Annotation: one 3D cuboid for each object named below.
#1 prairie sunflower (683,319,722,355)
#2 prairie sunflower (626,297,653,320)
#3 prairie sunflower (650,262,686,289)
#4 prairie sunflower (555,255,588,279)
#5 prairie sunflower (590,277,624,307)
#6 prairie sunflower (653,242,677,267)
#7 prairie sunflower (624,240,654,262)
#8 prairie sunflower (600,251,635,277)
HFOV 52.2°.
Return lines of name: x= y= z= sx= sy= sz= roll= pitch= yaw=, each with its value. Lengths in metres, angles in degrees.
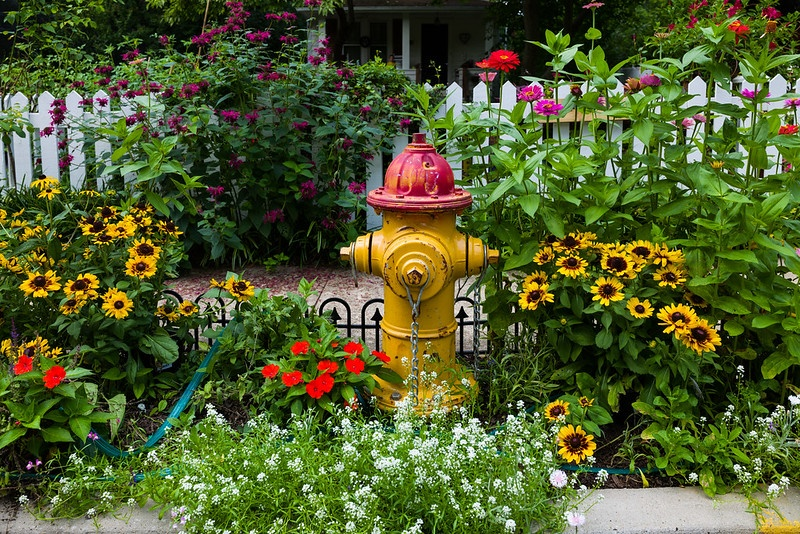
prairie sunflower: x=1.965 y=0.454 z=5.368 sx=0.245 sy=0.255 sz=0.316 roll=3 pitch=11 yaw=14
prairie sunflower: x=1.612 y=0.282 z=5.477 sx=0.175 sy=0.153 sz=0.234 roll=4 pitch=11 yaw=18
prairie sunflower: x=1.818 y=0.073 z=5.494 sx=0.163 sy=0.066 sz=0.171 roll=-16 pitch=53 yaw=-7
prairie sunflower: x=1.164 y=0.002 z=5.551 sx=0.156 sy=0.056 sz=0.162 roll=30 pitch=67 yaw=23
prairie sunflower: x=1.394 y=0.173 z=5.474 sx=0.216 sy=0.183 sz=0.171 roll=3 pitch=11 yaw=14
prairie sunflower: x=1.762 y=-0.066 z=5.495 sx=0.135 sy=0.063 sz=0.145 roll=11 pitch=33 yaw=15
prairie sunflower: x=1.634 y=-0.106 z=5.554 sx=0.136 sy=0.051 sz=0.139 roll=28 pitch=56 yaw=34
prairie sunflower: x=1.471 y=-0.006 z=5.506 sx=0.208 sy=0.163 sz=0.106 roll=3 pitch=11 yaw=17
